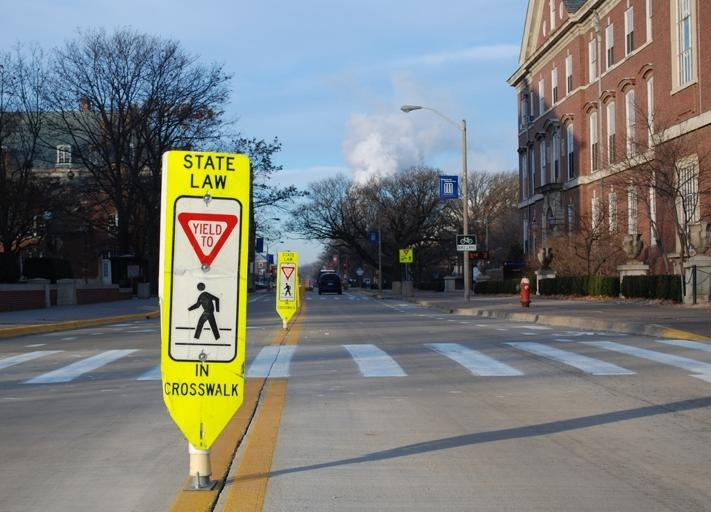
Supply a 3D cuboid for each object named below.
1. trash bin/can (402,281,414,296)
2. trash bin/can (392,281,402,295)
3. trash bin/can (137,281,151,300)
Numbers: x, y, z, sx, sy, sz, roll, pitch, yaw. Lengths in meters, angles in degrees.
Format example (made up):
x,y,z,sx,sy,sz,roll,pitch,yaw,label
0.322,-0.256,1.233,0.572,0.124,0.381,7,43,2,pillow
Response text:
x,y,z,sx,sy,sz,roll,pitch,yaw,label
3.754,2.256,55.465,0.878,1.130,0.925,0,-2,-9,trash bin/can
3.243,2.544,63.945,0.803,1.004,0.817,-1,4,-30,trash bin/can
-12.246,1.970,46.095,0.661,0.935,1.436,-3,4,-20,trash bin/can
